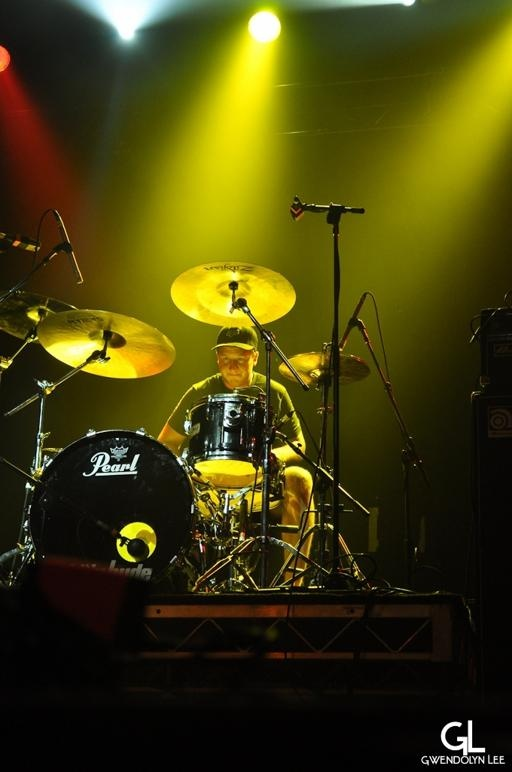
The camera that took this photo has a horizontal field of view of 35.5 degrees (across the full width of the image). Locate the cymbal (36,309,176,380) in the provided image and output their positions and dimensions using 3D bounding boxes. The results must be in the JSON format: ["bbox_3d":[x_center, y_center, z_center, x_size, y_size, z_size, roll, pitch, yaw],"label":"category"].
[{"bbox_3d":[-0.789,-0.212,4.208,0.701,0.417,0.648,3,10,-16],"label":"cymbal"}]

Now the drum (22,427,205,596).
[{"bbox_3d":[-0.600,0.490,3.464,0.652,0.527,0.390,10,10,24],"label":"drum"}]
